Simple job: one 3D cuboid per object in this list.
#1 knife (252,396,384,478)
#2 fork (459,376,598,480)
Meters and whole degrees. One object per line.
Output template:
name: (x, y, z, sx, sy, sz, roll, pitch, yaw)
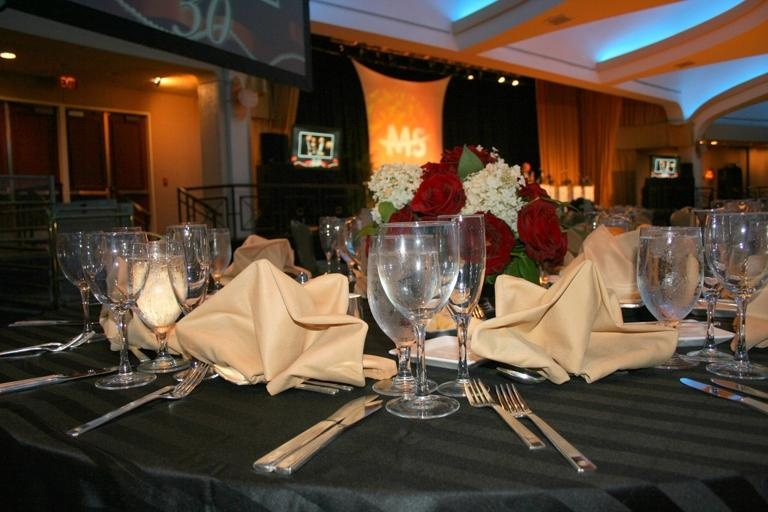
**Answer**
knife: (-0.116, 0.271, 0.959, 0.070, 0.022, 0.275, 6, 10, 26)
fork: (0.233, 0.266, 1.013, 0.068, 0.030, 0.243, -8, 20, -18)
